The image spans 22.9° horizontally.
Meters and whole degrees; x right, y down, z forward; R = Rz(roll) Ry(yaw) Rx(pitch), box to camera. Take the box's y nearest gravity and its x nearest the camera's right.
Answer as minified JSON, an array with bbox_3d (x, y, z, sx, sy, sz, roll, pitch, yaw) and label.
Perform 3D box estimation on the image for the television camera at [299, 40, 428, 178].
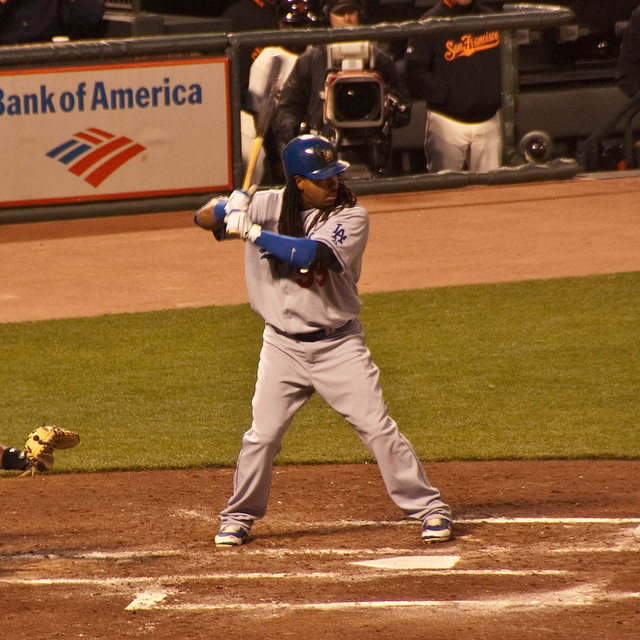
[{"bbox_3d":[0.529,-1.747,13.224,0.984,1.255,1.342,-1,9,-4],"label":"television camera"}]

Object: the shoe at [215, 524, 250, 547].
[{"bbox_3d":[-0.419,1.041,7.540,0.156,0.065,0.075,6,2,-8],"label":"shoe"}]

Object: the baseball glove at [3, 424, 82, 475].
[{"bbox_3d":[-1.361,0.639,7.624,0.142,0.222,0.417,11,17,40],"label":"baseball glove"}]

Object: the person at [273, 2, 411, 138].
[{"bbox_3d":[0.107,-1.961,12.821,0.935,1.292,0.609,-3,-1,-32],"label":"person"}]

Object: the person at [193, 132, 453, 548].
[{"bbox_3d":[-0.003,0.126,7.499,1.095,1.948,0.727,-2,14,-5],"label":"person"}]
